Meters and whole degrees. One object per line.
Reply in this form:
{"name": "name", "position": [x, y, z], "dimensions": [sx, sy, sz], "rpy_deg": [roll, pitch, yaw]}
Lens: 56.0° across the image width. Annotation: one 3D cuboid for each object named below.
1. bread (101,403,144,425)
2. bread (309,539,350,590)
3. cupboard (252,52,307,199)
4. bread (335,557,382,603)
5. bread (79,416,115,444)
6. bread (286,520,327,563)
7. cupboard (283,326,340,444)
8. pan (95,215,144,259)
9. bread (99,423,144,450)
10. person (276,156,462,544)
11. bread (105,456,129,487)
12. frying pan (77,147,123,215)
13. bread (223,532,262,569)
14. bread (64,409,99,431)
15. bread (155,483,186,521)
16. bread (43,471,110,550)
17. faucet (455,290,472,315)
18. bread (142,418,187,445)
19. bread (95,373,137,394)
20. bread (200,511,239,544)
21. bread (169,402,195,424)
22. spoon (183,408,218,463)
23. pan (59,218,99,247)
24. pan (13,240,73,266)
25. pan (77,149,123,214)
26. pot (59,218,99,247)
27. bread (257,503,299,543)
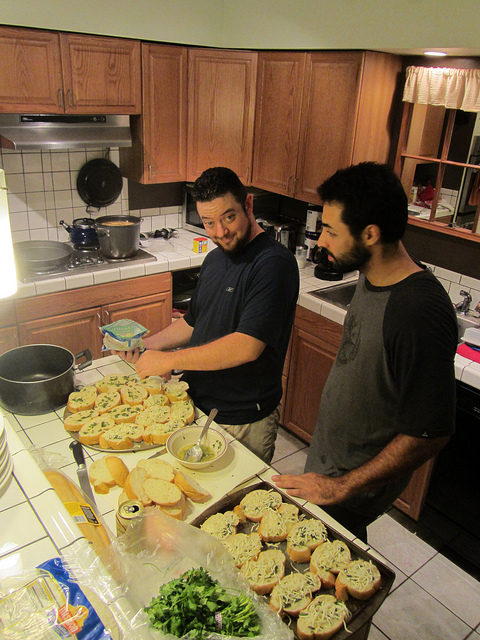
{"name": "bread", "position": [-0.376, 0.303, 1.474], "dimensions": [0.077, 0.017, 0.056], "rpy_deg": [-15, 28, -37]}
{"name": "bread", "position": [0.196, 0.528, 0.982], "dimensions": [0.071, 0.034, 0.122], "rpy_deg": [7, 18, 27]}
{"name": "cupboard", "position": [0.270, -1.271, 3.073], "dimensions": [0.244, 0.925, 0.347], "rpy_deg": [-17, 32, -31]}
{"name": "bread", "position": [0.244, 0.536, 0.933], "dimensions": [0.102, 0.034, 0.079], "rpy_deg": [3, 25, -4]}
{"name": "bread", "position": [-0.444, 0.333, 1.379], "dimensions": [0.056, 0.018, 0.080], "rpy_deg": [7, 25, 11]}
{"name": "bread", "position": [0.151, 0.508, 1.041], "dimensions": [0.084, 0.035, 0.119], "rpy_deg": [6, 13, 43]}
{"name": "cupboard", "position": [0.521, 0.390, 3.007], "dimensions": [0.379, 0.651, 0.422], "rpy_deg": [-13, 28, -38]}
{"name": "pan", "position": [-0.854, -0.564, 3.291], "dimensions": [0.338, 0.348, 0.318], "rpy_deg": [-8, 28, -27]}
{"name": "bread", "position": [-0.353, 0.346, 1.364], "dimensions": [0.075, 0.024, 0.069], "rpy_deg": [-7, 26, -29]}
{"name": "person", "position": [0.354, 0.154, 1.286], "dimensions": [0.401, 1.101, 0.522], "rpy_deg": [4, 25, -2]}
{"name": "bread", "position": [-0.316, 0.404, 1.209], "dimensions": [0.018, 0.063, 0.062], "rpy_deg": [-28, 26, -22]}
{"name": "frying pan", "position": [-1.044, -1.051, 3.411], "dimensions": [0.331, 0.449, 0.077], "rpy_deg": [9, 6, -42]}
{"name": "bread", "position": [0.009, 0.513, 1.017], "dimensions": [0.084, 0.024, 0.085], "rpy_deg": [13, 22, 29]}
{"name": "bread", "position": [-0.501, 0.310, 1.419], "dimensions": [0.049, 0.024, 0.068], "rpy_deg": [11, 23, 15]}
{"name": "bread", "position": [-0.172, 0.449, 1.108], "dimensions": [0.061, 0.014, 0.063], "rpy_deg": [26, 12, 8]}
{"name": "bread", "position": [-0.330, 0.401, 0.979], "dimensions": [0.128, 0.229, 0.048], "rpy_deg": [-34, 2, 40]}
{"name": "faucet", "position": [1.260, -0.107, 2.568], "dimensions": [0.118, 0.123, 0.117], "rpy_deg": [8, 25, 29]}
{"name": "bread", "position": [-0.234, 0.337, 1.395], "dimensions": [0.062, 0.021, 0.088], "rpy_deg": [14, 25, 32]}
{"name": "bread", "position": [-0.456, 0.226, 1.637], "dimensions": [0.073, 0.026, 0.090], "rpy_deg": [0, 14, 5]}
{"name": "bread", "position": [-0.044, 0.486, 1.071], "dimensions": [0.061, 0.019, 0.083], "rpy_deg": [17, 27, 38]}
{"name": "bread", "position": [-0.189, 0.304, 1.504], "dimensions": [0.061, 0.015, 0.059], "rpy_deg": [-2, 31, 10]}
{"name": "spoon", "position": [-0.117, 0.338, 1.356], "dimensions": [0.088, 0.130, 0.078], "rpy_deg": [-18, 33, -40]}
{"name": "pan", "position": [-1.148, -0.623, 3.268], "dimensions": [0.280, 0.179, 0.184], "rpy_deg": [-3, 27, -22]}
{"name": "pan", "position": [-1.335, -0.451, 3.078], "dimensions": [0.368, 0.085, 0.573], "rpy_deg": [-7, 27, -24]}
{"name": "pan", "position": [-1.083, -1.047, 3.397], "dimensions": [0.389, 0.542, 0.075], "rpy_deg": [10, 9, -38]}
{"name": "pot", "position": [-1.128, -0.638, 3.282], "dimensions": [0.298, 0.202, 0.182], "rpy_deg": [-10, 32, -26]}
{"name": "bread", "position": [0.095, 0.483, 1.071], "dimensions": [0.063, 0.014, 0.062], "rpy_deg": [-13, 28, -21]}
